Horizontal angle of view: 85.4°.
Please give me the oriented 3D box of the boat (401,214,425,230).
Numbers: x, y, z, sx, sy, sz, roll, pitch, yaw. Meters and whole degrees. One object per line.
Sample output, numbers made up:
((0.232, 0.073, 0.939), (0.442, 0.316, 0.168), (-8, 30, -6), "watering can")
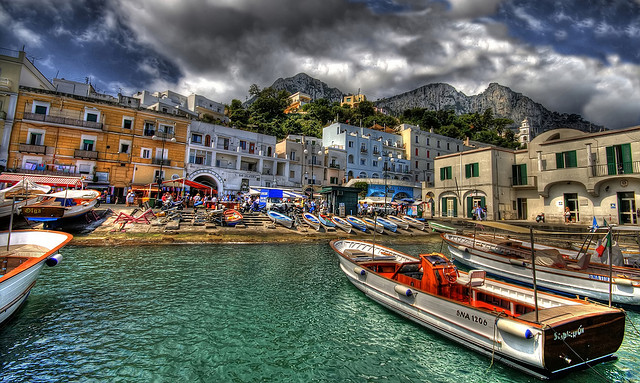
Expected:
((11.780, 4.046, 44.548), (1.222, 0.733, 3.005), (2, 12, -43), "boat")

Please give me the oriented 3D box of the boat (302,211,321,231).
((-0.938, 3.338, 38.984), (1.170, 0.695, 2.469), (-2, 26, -40), "boat")

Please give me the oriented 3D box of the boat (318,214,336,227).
((0.805, 3.298, 38.809), (1.570, 0.272, 1.036), (28, 15, 19), "boat")

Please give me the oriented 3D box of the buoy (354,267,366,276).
((2.517, 5.000, 21.788), (0.242, 0.226, 0.908), (30, -15, -11), "buoy")

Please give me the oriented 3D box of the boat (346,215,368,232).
((4.032, 3.655, 40.153), (2.964, 0.796, 1.206), (22, 16, 41), "boat")

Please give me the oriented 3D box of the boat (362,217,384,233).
((6.054, 3.918, 39.809), (0.959, 0.719, 2.974), (22, -3, -40), "boat")

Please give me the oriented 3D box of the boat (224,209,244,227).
((-8.862, 2.745, 35.545), (1.671, 1.471, 1.085), (-1, 13, -22), "boat")

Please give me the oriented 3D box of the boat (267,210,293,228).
((-4.417, 3.075, 37.865), (2.927, 0.773, 1.249), (21, 3, 36), "boat")

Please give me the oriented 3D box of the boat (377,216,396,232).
((7.918, 3.955, 42.070), (0.918, 0.504, 2.713), (1, 25, -42), "boat")

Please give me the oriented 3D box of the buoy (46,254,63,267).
((-14.672, 3.844, 19.223), (0.644, 0.638, 0.724), (-3, 14, -33), "buoy")
